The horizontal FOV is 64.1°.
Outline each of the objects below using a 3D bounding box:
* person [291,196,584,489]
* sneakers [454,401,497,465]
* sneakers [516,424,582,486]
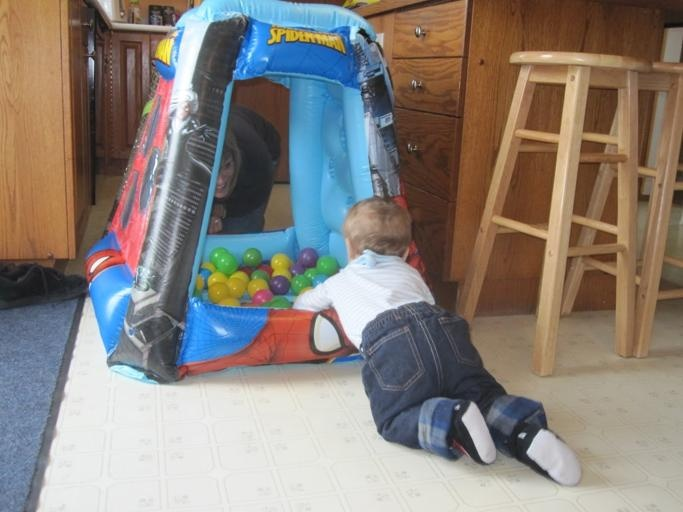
[{"bbox_3d":[0.210,0.127,1.489,0.355,0.436,0.901,-11,28,-20],"label":"person"},{"bbox_3d":[0.285,0.391,1.237,0.048,0.137,0.101,-29,-5,40],"label":"sneakers"},{"bbox_3d":[0.462,0.441,1.215,0.164,0.104,0.052,32,-22,-13],"label":"sneakers"}]
